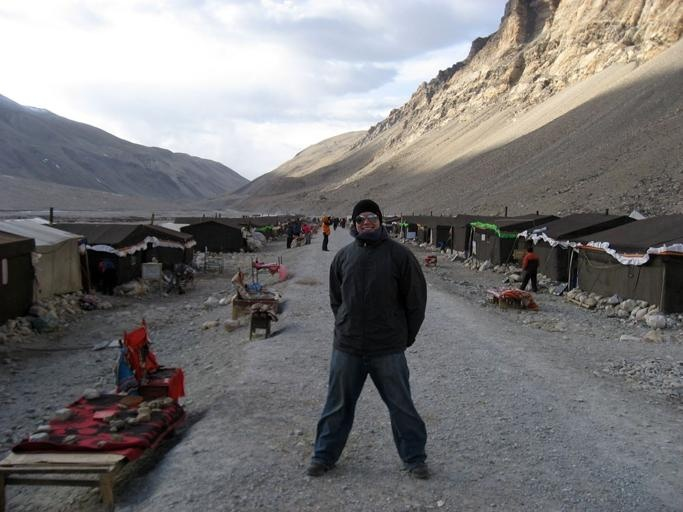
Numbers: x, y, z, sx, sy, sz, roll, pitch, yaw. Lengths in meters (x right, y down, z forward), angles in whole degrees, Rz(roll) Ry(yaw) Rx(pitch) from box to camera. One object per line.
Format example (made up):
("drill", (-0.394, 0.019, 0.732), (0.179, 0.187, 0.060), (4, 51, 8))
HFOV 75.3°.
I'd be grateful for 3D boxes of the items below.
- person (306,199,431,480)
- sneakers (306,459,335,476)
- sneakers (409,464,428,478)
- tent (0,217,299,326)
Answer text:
("person", (0.373, 0.967, 5.131), (1.342, 3.227, 0.556), (2, 9, 9))
("sneakers", (-0.262, 2.484, 5.236), (0.142, 0.139, 0.332), (2, 0, 28))
("sneakers", (0.898, 2.492, 5.223), (0.129, 0.122, 0.274), (3, -9, -30))
("tent", (-10.627, -0.226, 19.990), (3.866, 2.932, 9.621), (3, 9, 14))
